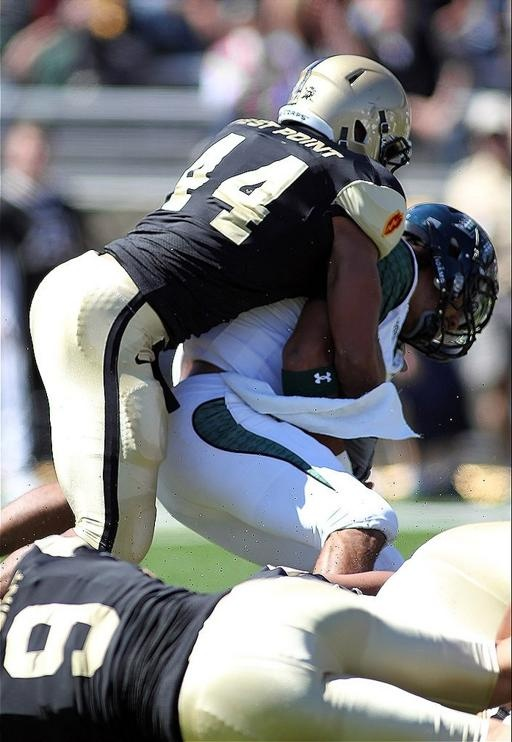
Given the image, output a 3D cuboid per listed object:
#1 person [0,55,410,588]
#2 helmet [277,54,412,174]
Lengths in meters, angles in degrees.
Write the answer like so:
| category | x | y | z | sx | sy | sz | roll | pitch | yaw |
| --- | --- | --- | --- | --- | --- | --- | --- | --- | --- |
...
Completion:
| category | x | y | z | sx | sy | sz | roll | pitch | yaw |
| --- | --- | --- | --- | --- | --- | --- | --- | --- | --- |
| person | -0.044 | -0.171 | 2.195 | 1.057 | 0.796 | 0.507 | -21 | 32 | -27 |
| helmet | 0.194 | -0.592 | 2.390 | 0.319 | 0.231 | 0.215 | -11 | 30 | -34 |
